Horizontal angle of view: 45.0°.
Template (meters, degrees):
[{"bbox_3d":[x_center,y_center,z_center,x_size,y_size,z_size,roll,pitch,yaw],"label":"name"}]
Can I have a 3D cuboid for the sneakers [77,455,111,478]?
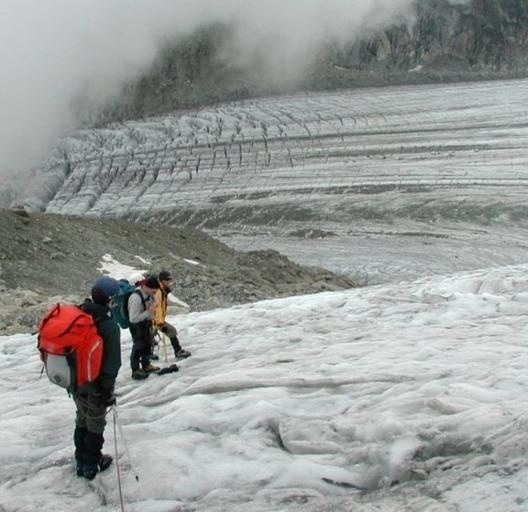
[{"bbox_3d":[-1.286,1.586,4.868,0.125,0.116,0.317,-4,4,31],"label":"sneakers"}]

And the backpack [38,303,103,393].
[{"bbox_3d":[-1.394,0.690,4.637,0.421,0.533,0.660,-6,9,-42],"label":"backpack"}]

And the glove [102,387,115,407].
[{"bbox_3d":[-1.153,1.045,4.725,0.124,0.122,0.112,-1,0,3],"label":"glove"}]

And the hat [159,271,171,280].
[{"bbox_3d":[-1.068,0.214,6.876,0.099,0.102,0.111,-4,-24,42],"label":"hat"}]

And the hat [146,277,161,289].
[{"bbox_3d":[-1.113,0.265,6.265,0.146,0.132,0.206,-9,10,-11],"label":"hat"}]

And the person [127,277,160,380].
[{"bbox_3d":[-1.243,0.729,6.529,0.539,1.244,0.497,1,46,-7],"label":"person"}]
